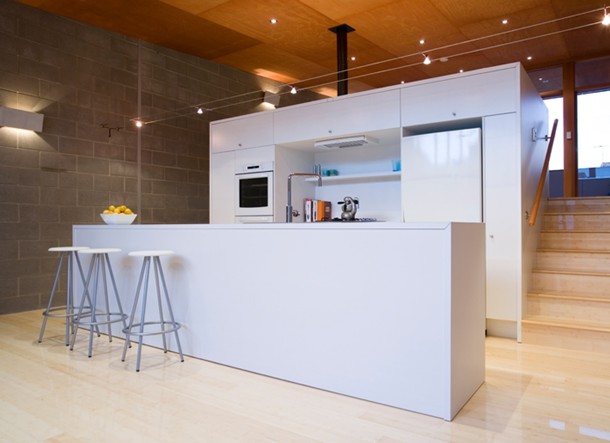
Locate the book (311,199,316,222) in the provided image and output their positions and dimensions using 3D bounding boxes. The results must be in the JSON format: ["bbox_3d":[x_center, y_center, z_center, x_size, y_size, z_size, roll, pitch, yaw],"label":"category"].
[{"bbox_3d":[0.097,-0.123,4.726,0.027,0.214,0.060,7,12,36],"label":"book"}]

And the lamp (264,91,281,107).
[{"bbox_3d":[-0.413,-1.613,5.936,0.250,0.159,0.136,6,-1,35],"label":"lamp"}]

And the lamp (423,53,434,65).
[{"bbox_3d":[1.272,-1.691,4.702,0.080,0.091,0.036,1,10,11],"label":"lamp"}]

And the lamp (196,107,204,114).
[{"bbox_3d":[-1.382,-1.470,5.982,0.072,0.062,0.116,13,0,-11],"label":"lamp"}]

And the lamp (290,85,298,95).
[{"bbox_3d":[-0.135,-1.619,5.544,0.077,0.125,0.074,2,-2,-34],"label":"lamp"}]

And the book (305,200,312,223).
[{"bbox_3d":[0.042,-0.121,4.728,0.065,0.223,0.093,-4,10,-19],"label":"book"}]

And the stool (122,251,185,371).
[{"bbox_3d":[-1.446,0.744,4.196,0.535,1.010,1.044,-5,10,-23],"label":"stool"}]

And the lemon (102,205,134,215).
[{"bbox_3d":[-2.263,-0.147,5.455,0.206,0.064,0.194,0,-4,20],"label":"lemon"}]

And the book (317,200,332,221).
[{"bbox_3d":[0.208,-0.122,4.848,0.169,0.216,0.066,5,0,-43],"label":"book"}]

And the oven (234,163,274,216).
[{"bbox_3d":[-0.642,-0.427,6.284,0.615,0.701,0.524,-2,0,4],"label":"oven"}]

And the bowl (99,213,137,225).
[{"bbox_3d":[-2.046,-0.037,5.024,0.316,0.121,0.170,1,9,10],"label":"bowl"}]
